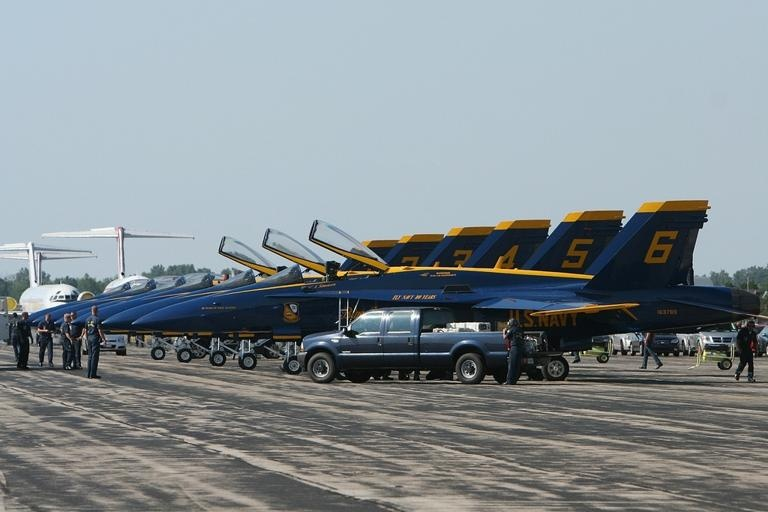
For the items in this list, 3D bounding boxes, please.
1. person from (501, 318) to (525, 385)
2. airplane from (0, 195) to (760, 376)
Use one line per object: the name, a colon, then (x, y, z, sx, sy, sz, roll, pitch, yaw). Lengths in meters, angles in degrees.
person: (3.433, 2.542, 32.461, 0.562, 1.754, 0.966, 3, -6, 5)
airplane: (3.155, 0.503, 40.564, 18.342, 4.863, 10.243, 0, -5, 22)
